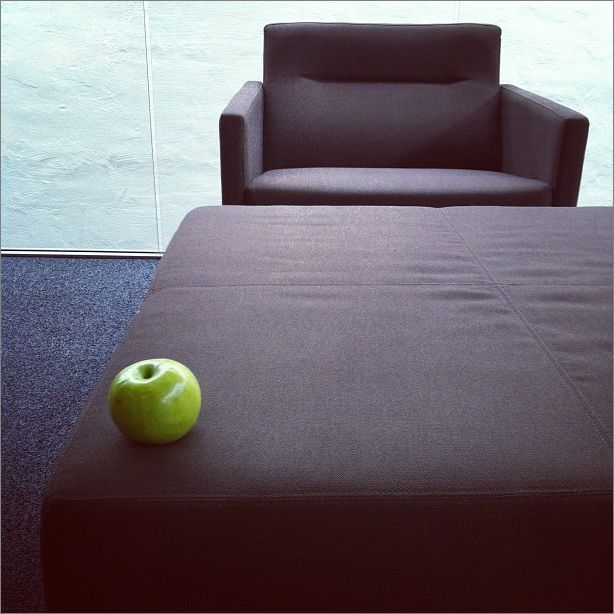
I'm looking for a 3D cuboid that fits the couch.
[{"bbox_3d":[0.353,-0.710,2.282,1.432,0.841,0.732,-3,33,-5],"label":"couch"}]

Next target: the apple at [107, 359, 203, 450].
[{"bbox_3d":[-0.174,0.106,0.608,0.101,0.070,0.097,-1,20,-10],"label":"apple"}]
